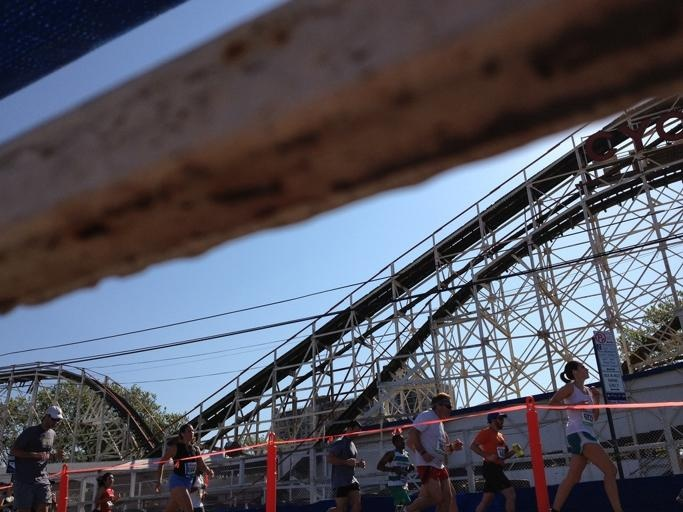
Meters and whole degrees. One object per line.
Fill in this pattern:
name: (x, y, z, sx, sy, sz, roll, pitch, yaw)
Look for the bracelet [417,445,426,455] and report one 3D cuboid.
bracelet: (0.784, 1.895, 6.736, 0.068, 0.072, 0.025, 0, 27, 23)
